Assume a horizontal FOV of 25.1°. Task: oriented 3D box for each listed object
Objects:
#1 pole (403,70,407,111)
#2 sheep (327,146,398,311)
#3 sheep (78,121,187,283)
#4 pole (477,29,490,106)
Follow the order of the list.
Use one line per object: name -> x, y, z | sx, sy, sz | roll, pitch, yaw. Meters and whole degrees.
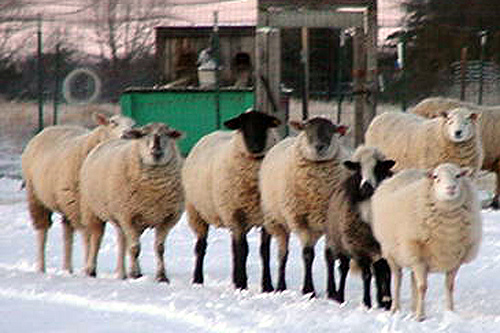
pole -> 3.742, -1.844, 27.006 | 0.071, 0.970, 0.101 | 0, 6, 0
sheep -> 2.286, 1.301, 21.972 | 1.427, 2.957, 4.005 | -1, -6, 4
sheep -> -2.357, 0.721, 22.710 | 2.086, 3.200, 0.877 | 1, 6, 17
pole -> 5.701, -2.449, 27.347 | 0.270, 1.826, 0.484 | 1, 6, 14
